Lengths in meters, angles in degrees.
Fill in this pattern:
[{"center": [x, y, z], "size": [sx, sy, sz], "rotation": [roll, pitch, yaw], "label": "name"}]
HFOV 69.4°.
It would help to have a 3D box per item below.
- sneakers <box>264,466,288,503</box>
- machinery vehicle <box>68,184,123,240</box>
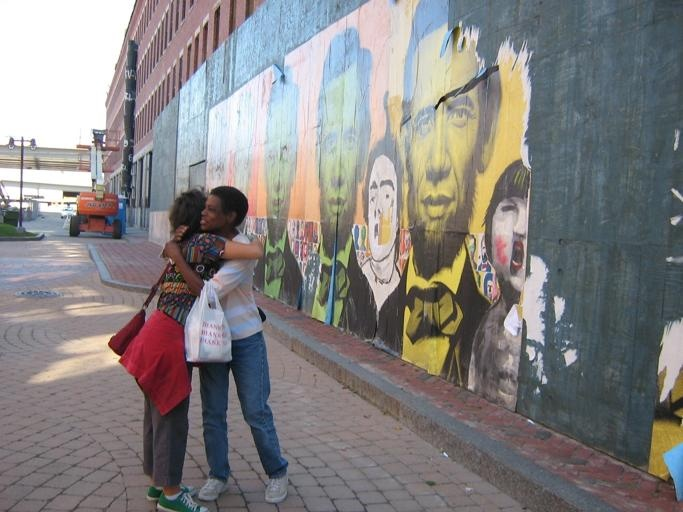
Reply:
[{"center": [-0.449, 1.592, 3.408], "size": [0.088, 0.133, 0.273], "rotation": [-1, -2, 5], "label": "sneakers"}, {"center": [-15.879, -2.696, 32.699], "size": [2.285, 2.355, 4.133], "rotation": [2, -6, -17], "label": "machinery vehicle"}]
